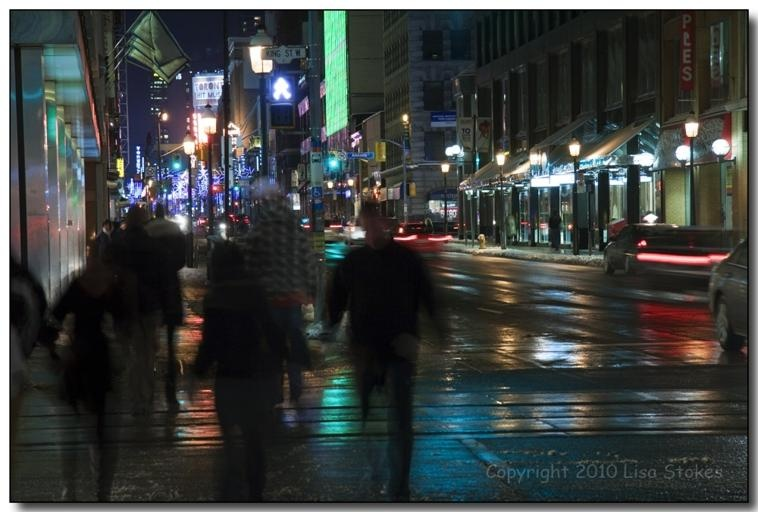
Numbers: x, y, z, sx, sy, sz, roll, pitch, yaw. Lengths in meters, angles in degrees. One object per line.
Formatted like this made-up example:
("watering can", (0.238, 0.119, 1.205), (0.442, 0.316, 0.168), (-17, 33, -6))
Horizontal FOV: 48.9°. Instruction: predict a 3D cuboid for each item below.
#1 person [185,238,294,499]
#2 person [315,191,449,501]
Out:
("person", (-1.314, 1.026, 7.700), (0.742, 2.297, 1.287), (-1, 3, -13))
("person", (0.037, 0.817, 7.865), (0.944, 2.658, 0.768), (1, 3, 34))
